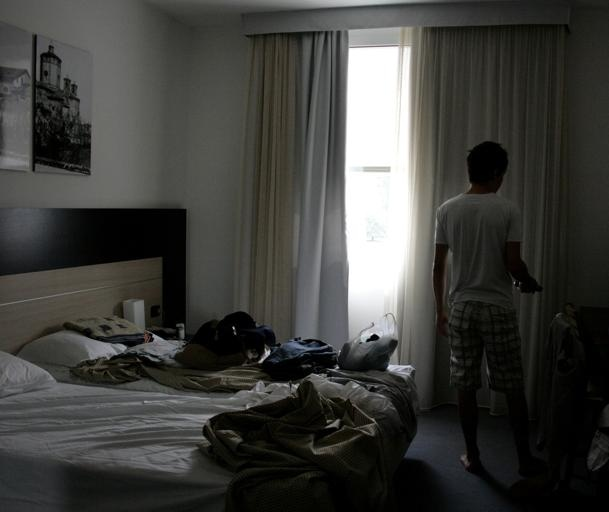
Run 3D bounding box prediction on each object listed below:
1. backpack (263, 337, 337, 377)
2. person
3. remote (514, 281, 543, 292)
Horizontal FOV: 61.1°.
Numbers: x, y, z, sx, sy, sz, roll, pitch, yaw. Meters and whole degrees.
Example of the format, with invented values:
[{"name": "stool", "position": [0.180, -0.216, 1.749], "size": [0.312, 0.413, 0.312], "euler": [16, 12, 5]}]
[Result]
[{"name": "backpack", "position": [-0.029, 0.603, 3.057], "size": [0.196, 0.120, 0.273], "euler": [-2, 0, 22]}, {"name": "person", "position": [1.008, 0.308, 2.851], "size": [0.610, 1.845, 0.320], "euler": [3, 9, 24]}, {"name": "remote", "position": [1.190, 0.158, 2.723], "size": [0.103, 0.052, 0.084], "euler": [1, 4, -1]}]
